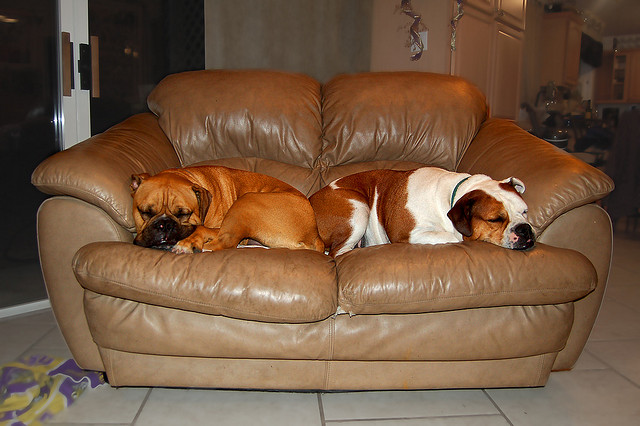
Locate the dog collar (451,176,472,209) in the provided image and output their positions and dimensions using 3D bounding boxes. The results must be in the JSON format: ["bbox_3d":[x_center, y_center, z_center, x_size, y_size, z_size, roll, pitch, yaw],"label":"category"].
[{"bbox_3d":[0.879,-0.133,3.268,0.139,0.176,0.045,-13,23,-41],"label":"dog collar"}]

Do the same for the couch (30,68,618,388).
[{"bbox_3d":[0.005,-0.029,3.465,3.413,1.786,1.716,2,17,-3],"label":"couch"}]

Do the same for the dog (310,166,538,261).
[{"bbox_3d":[0.677,-0.026,3.247,0.941,0.354,0.733,-7,5,41],"label":"dog"}]

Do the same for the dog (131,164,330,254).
[{"bbox_3d":[-0.589,0.004,3.148,0.864,0.343,0.657,7,-1,-33],"label":"dog"}]
